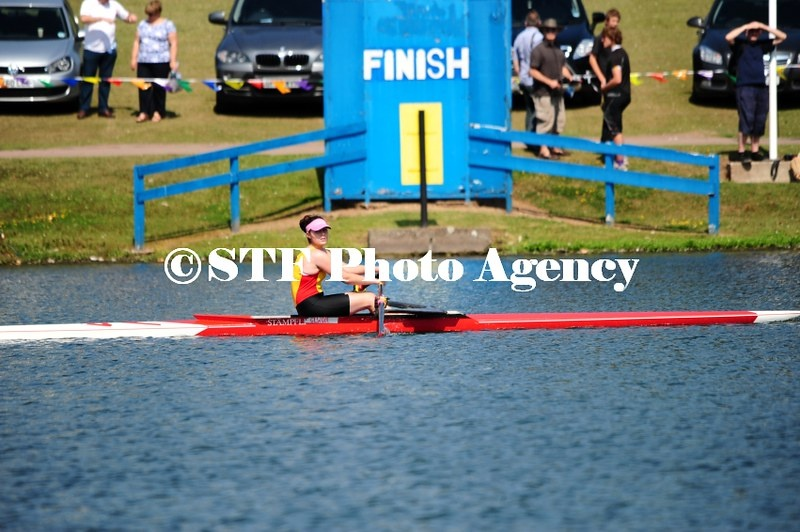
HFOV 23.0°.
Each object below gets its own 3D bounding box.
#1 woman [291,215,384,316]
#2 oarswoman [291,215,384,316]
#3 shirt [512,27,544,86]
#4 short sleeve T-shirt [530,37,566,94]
[{"bbox_3d":[-0.957,0.066,30.977,1.413,1.839,1.198,-1,3,-22],"label":"woman"},{"bbox_3d":[-0.961,0.117,31.079,1.450,1.858,1.160,2,-3,-16],"label":"oarswoman"},{"bbox_3d":[2.475,-3.976,37.810,0.455,1.442,0.845,-8,14,-31],"label":"shirt"},{"bbox_3d":[2.760,-3.741,37.318,0.495,1.182,0.945,-3,-1,42],"label":"short sleeve T-shirt"}]
